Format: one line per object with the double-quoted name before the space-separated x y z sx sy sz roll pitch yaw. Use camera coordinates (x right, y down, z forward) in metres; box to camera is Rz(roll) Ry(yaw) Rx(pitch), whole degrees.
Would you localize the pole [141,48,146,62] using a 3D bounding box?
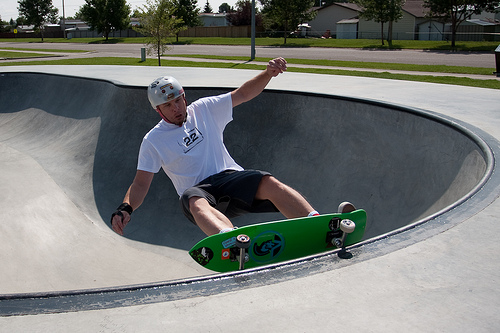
"pole" -5.274 -5.603 21.530 0.226 0.592 0.352 -4 14 -18
